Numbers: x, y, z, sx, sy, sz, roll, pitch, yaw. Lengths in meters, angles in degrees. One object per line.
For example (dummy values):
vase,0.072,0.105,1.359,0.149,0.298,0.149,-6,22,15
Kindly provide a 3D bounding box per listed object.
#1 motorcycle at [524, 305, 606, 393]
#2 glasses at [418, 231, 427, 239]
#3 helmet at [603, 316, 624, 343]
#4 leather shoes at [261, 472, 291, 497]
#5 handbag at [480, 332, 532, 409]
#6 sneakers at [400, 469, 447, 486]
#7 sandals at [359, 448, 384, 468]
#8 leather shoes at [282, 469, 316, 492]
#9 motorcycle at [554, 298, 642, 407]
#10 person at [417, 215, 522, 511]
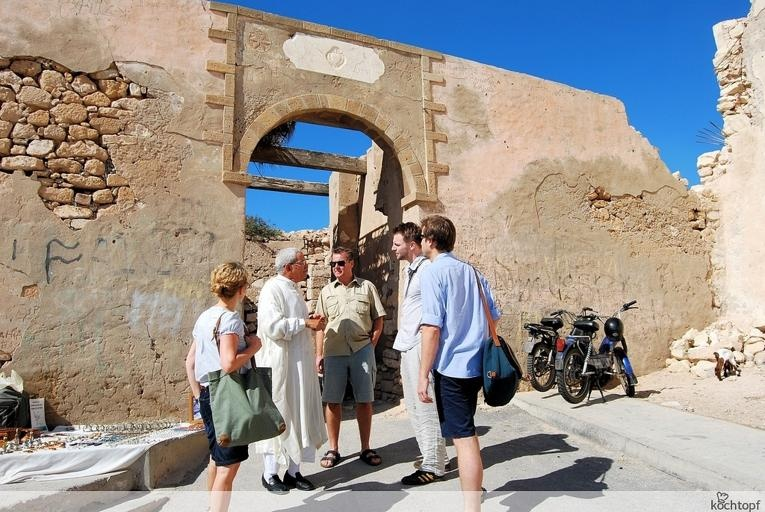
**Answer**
motorcycle,2.323,1.364,10.778,1.638,0.988,0.827,0,-5,-40
glasses,0.412,-0.218,7.906,0.086,0.090,0.090,0,-2,8
helmet,3.230,1.046,10.307,0.261,0.336,0.332,1,5,17
leather shoes,-1.171,2.485,7.899,0.294,0.120,0.137,-6,-10,44
handbag,1.149,1.172,7.734,0.554,1.014,1.044,2,-9,-4
sneakers,0.416,2.439,8.027,0.448,0.174,0.163,2,-13,-7
sandals,-0.155,2.328,8.459,0.248,0.179,0.192,-1,-7,-4
leather shoes,-0.914,2.452,7.926,0.329,0.135,0.158,-1,-6,19
motorcycle,3.002,1.425,10.437,0.896,1.083,1.757,-6,-2,39
person,0.741,1.026,7.369,0.794,2.917,0.409,-2,-7,7
